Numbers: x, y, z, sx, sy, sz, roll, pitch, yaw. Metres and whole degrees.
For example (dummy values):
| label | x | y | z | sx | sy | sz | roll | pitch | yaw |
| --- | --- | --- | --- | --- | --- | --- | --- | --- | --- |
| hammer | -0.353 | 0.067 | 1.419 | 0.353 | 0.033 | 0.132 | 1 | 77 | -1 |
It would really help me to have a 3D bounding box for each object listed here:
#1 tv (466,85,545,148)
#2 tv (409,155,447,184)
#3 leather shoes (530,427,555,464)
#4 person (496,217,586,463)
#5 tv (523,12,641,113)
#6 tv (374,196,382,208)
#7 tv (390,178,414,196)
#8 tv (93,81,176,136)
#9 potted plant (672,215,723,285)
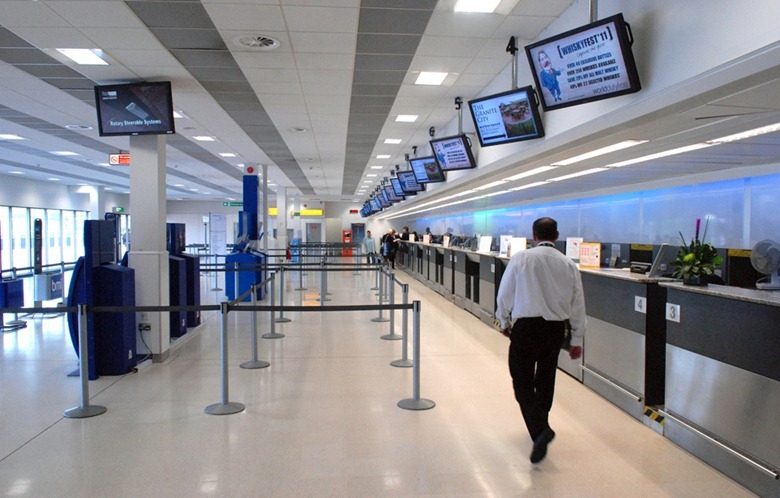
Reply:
| label | x | y | z | sx | sy | sz | roll | pitch | yaw |
| --- | --- | --- | --- | --- | --- | --- | --- | --- | --- |
| tv | 1.708 | -1.920 | 7.250 | 0.204 | 0.981 | 1.487 | -32 | 21 | -32 |
| tv | 0.915 | -1.839 | 11.663 | 0.112 | 0.614 | 1.096 | -28 | 18 | -18 |
| leather shoes | 1.607 | 2.039 | 5.230 | 0.165 | 0.165 | 0.411 | -23 | 31 | 42 |
| person | 1.596 | 0.917 | 5.377 | 0.700 | 2.472 | 0.605 | -6 | 11 | -35 |
| tv | 2.128 | -2.041 | 5.623 | 0.334 | 0.855 | 1.208 | -6 | 11 | -35 |
| tv | -0.474 | -2.211 | 23.818 | 0.158 | 0.549 | 0.587 | -9 | 6 | -30 |
| tv | 0.411 | -1.889 | 15.318 | 0.230 | 0.579 | 0.855 | -35 | 12 | -10 |
| tv | -3.915 | -2.164 | 7.756 | 0.978 | 0.624 | 0.094 | -4 | 0 | 1 |
| potted plant | 3.498 | 0.016 | 5.711 | 0.470 | 0.635 | 0.545 | -3 | -3 | 18 |
